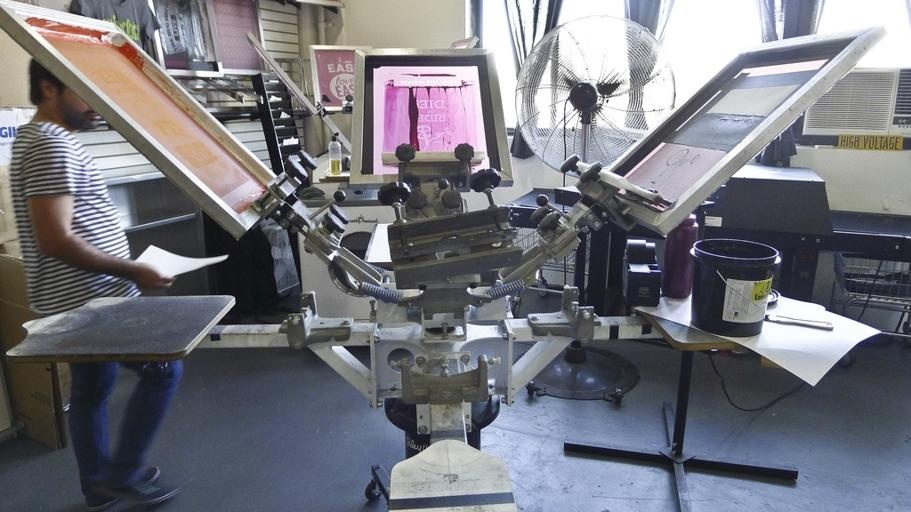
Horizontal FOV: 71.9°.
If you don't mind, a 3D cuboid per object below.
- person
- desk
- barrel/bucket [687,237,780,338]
[{"bbox_3d":[-2.096,0.241,3.611,0.633,2.631,0.786,-19,27,-40],"label":"person"},{"bbox_3d":[1.480,0.696,4.093,1.459,1.081,1.343,1,31,2],"label":"desk"},{"bbox_3d":[1.440,0.149,3.451,0.549,0.439,0.489,8,15,38],"label":"barrel/bucket"}]
